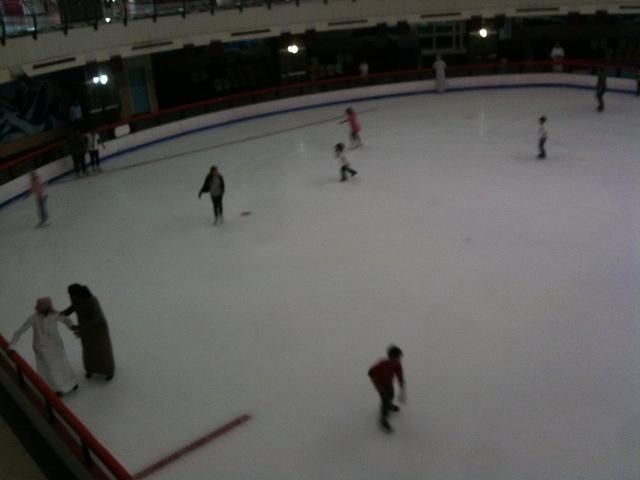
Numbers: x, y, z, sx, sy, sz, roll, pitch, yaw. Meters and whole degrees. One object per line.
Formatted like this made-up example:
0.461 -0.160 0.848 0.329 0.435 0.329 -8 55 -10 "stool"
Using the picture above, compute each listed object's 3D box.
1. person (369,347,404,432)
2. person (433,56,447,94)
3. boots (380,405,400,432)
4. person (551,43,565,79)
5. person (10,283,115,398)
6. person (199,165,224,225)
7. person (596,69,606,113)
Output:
0.948 1.953 6.845 0.445 1.341 0.511 1 17 18 "person"
6.579 -9.057 27.131 0.678 1.941 1.030 1 17 17 "person"
0.972 2.507 6.959 0.297 0.309 0.160 -19 51 -26 "boots"
12.566 -9.629 26.242 0.560 1.469 1.565 2 18 22 "person"
-4.196 1.692 8.096 1.214 1.455 0.417 -29 45 -34 "person"
-3.006 -1.330 13.778 0.612 1.640 2.167 -8 17 -13 "person"
11.676 -6.165 20.589 0.341 1.612 0.952 5 18 29 "person"
